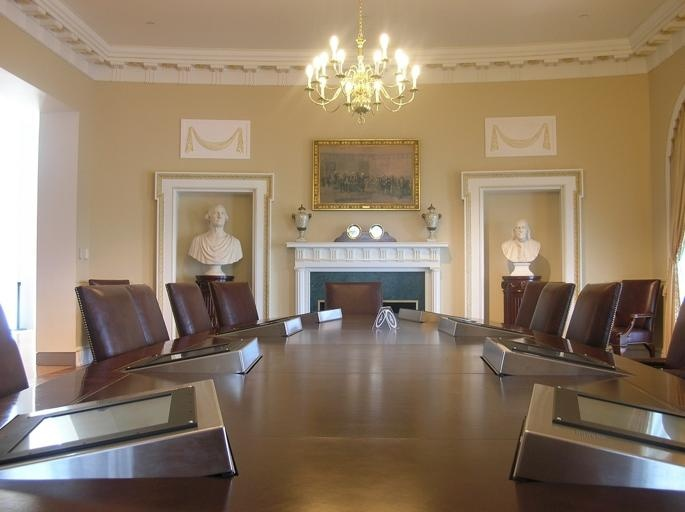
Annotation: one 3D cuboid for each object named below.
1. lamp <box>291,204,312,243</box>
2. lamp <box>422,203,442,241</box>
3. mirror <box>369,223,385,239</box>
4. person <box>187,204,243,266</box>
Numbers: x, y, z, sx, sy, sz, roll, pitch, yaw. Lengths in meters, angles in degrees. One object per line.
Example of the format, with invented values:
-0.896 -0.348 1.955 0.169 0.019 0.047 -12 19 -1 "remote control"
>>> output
-0.454 -0.366 6.102 0.211 0.396 0.210 0 4 -6 "lamp"
0.981 -0.371 6.069 0.230 0.379 0.213 1 4 7 "lamp"
0.376 -0.265 6.131 0.158 0.164 0.080 0 4 1 "mirror"
-1.498 -0.231 6.316 0.593 0.807 0.344 2 -16 -8 "person"
